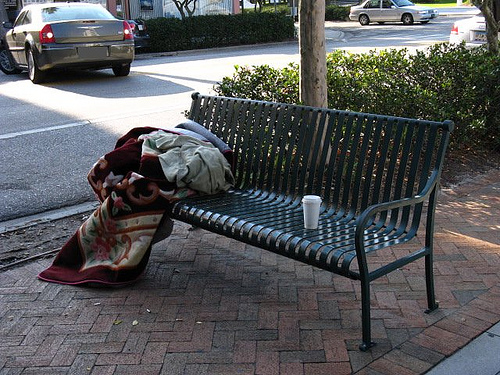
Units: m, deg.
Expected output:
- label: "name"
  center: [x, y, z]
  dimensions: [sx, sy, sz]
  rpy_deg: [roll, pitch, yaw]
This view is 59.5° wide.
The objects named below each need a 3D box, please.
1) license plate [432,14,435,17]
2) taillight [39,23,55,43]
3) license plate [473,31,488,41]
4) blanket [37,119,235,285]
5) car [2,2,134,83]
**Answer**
- label: "license plate"
  center: [13.322, -12.381, 31.531]
  dimensions: [0.266, 0.127, 0.095]
  rpy_deg: [0, 33, 6]
- label: "taillight"
  center: [-5.427, -4.121, 11.689]
  dimensions: [0.417, 0.476, 0.168]
  rpy_deg: [1, 25, 3]
- label: "license plate"
  center: [4.483, -2.929, 8.444]
  dimensions: [0.104, 0.173, 0.289]
  rpy_deg: [-18, 29, -33]
- label: "blanket"
  center: [-0.963, 0.078, 4.013]
  dimensions: [1.165, 0.778, 1.742]
  rpy_deg: [4, 40, 37]
- label: "car"
  center: [-5.580, -4.335, 13.054]
  dimensions: [3.669, 2.157, 2.372]
  rpy_deg: [17, 29, 35]
